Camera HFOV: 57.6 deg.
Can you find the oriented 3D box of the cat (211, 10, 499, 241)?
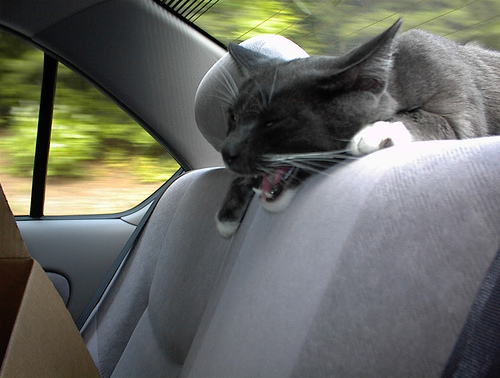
[{"bbox_3d":[0.306,-0.179,1.147,0.684,0.331,0.419,-34,16,-18],"label":"cat"}]
